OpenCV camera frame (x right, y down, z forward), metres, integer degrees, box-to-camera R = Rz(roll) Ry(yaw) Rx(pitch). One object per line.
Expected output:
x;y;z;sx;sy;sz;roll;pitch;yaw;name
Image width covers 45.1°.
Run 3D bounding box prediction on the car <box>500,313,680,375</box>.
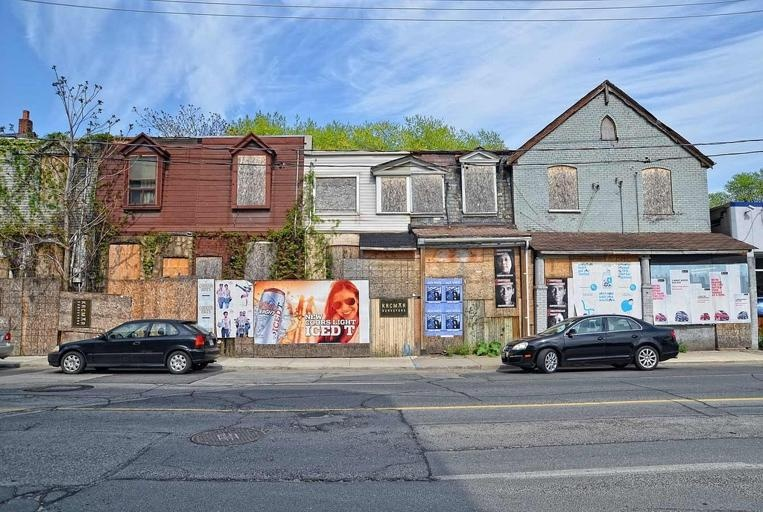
7.754;3.335;33.102;5.353;1.600;2.455;1;-11;0;car
